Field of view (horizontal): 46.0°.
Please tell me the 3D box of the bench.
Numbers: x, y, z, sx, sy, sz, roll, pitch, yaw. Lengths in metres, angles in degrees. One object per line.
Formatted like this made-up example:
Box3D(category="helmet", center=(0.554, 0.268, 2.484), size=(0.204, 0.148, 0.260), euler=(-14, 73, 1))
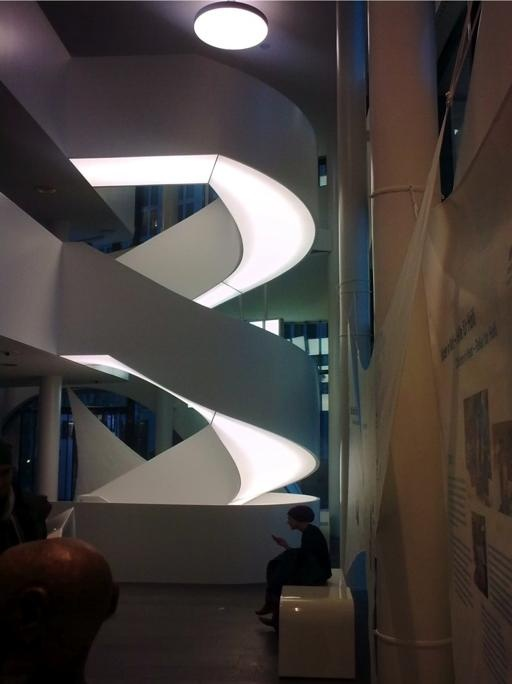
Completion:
Box3D(category="bench", center=(0.387, 1.877, 3.922), size=(0.486, 0.468, 0.432), euler=(-1, -9, 2))
